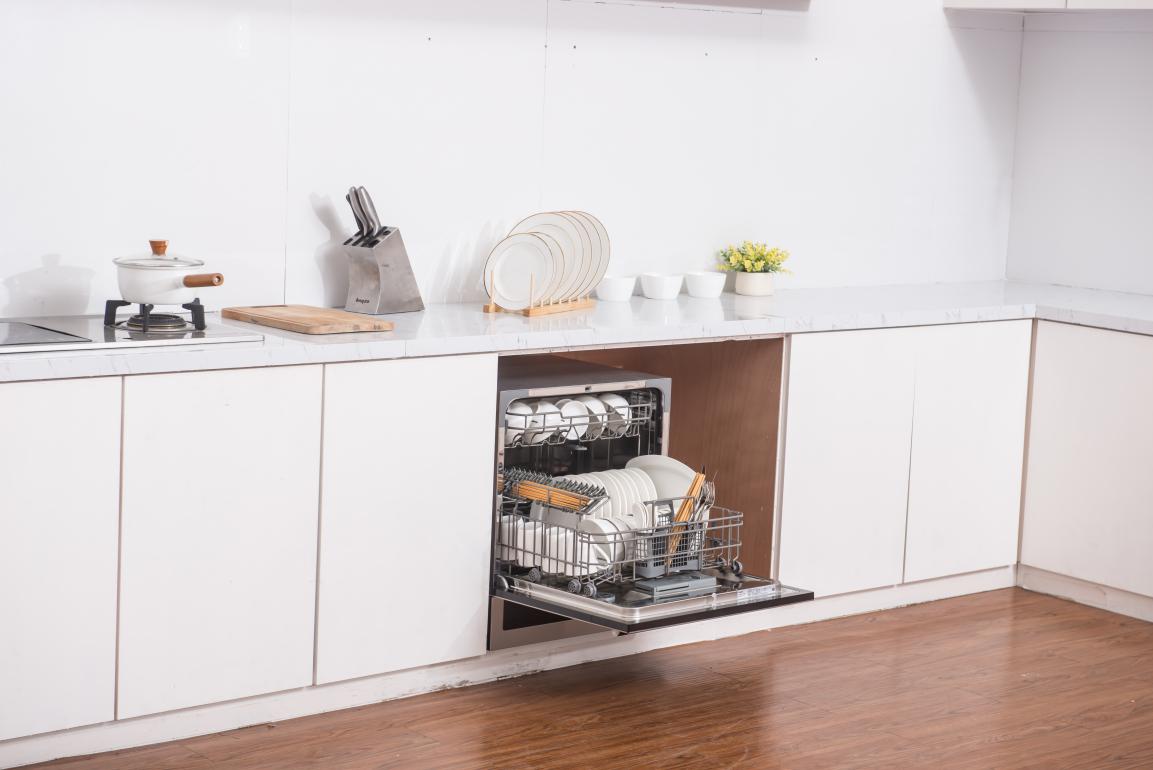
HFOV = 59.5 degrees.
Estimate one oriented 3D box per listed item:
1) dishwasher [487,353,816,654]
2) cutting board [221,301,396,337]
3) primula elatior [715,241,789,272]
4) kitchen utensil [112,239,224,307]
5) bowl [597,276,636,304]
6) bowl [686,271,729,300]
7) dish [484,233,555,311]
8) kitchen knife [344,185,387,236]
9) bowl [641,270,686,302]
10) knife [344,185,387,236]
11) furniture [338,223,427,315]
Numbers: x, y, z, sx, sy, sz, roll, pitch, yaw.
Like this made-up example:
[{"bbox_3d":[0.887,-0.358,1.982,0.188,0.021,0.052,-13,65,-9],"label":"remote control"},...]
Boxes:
[{"bbox_3d":[0.007,0.389,3.104,1.106,0.541,0.784,15,16,34],"label":"dishwasher"},{"bbox_3d":[-0.784,-0.189,2.950,0.414,0.038,0.258,12,15,39],"label":"cutting board"},{"bbox_3d":[0.682,-0.469,3.861,0.228,0.079,0.194,0,4,5],"label":"primula elatior"},{"bbox_3d":[-1.062,-0.288,2.720,0.328,0.182,0.161,9,16,24],"label":"kitchen utensil"},{"bbox_3d":[0.139,-0.337,3.642,0.146,0.057,0.120,-1,2,-18],"label":"bowl"},{"bbox_3d":[0.476,-0.370,3.811,0.155,0.059,0.145,0,3,0],"label":"bowl"},{"bbox_3d":[-0.188,-0.364,3.290,0.185,0.253,0.156,11,17,20],"label":"dish"},{"bbox_3d":[-0.664,-0.549,3.200,0.128,0.157,0.044,-9,22,9],"label":"kitchen knife"},{"bbox_3d":[0.309,-0.361,3.732,0.163,0.059,0.130,0,-1,9],"label":"bowl"},{"bbox_3d":[-0.665,-0.548,3.198,0.128,0.157,0.044,-9,22,9],"label":"knife"},{"bbox_3d":[-0.608,-0.350,3.233,0.302,0.196,0.246,7,6,2],"label":"furniture"}]
